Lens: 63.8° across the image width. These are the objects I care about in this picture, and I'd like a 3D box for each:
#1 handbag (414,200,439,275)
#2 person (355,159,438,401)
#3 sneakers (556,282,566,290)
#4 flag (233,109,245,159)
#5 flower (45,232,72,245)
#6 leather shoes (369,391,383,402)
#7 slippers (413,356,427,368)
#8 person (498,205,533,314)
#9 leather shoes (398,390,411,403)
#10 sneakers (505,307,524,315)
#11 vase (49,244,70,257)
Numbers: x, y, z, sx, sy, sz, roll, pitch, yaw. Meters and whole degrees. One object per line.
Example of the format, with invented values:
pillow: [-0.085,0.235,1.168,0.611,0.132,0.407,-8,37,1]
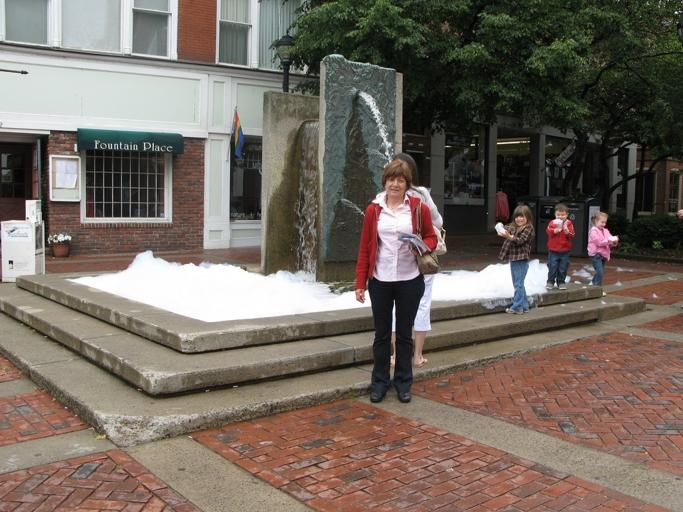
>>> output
handbag: [0.807,-0.122,5.181,0.213,0.646,0.330,3,8,7]
person: [0.504,0.401,5.303,0.734,2.049,0.392,3,8,8]
sneakers: [3.866,0.546,9.674,0.095,0.077,0.195,0,-3,-3]
flag: [-3.221,-3.869,17.102,0.354,1.577,1.087,0,8,-11]
flower: [-7.602,-0.454,14.956,0.385,0.217,0.392,2,1,2]
leather shoes: [0.338,1.374,5.327,0.100,0.068,0.173,0,-5,6]
slippers: [0.883,1.200,6.198,0.071,0.110,0.180,2,11,21]
person: [2.627,0.045,8.333,0.509,1.610,0.751,5,9,20]
leather shoes: [0.608,1.372,5.318,0.074,0.048,0.133,1,7,4]
sneakers: [2.602,0.837,8.295,0.211,0.089,0.111,4,6,8]
vase: [-7.615,-0.149,14.859,0.399,0.299,0.400,0,-2,5]
